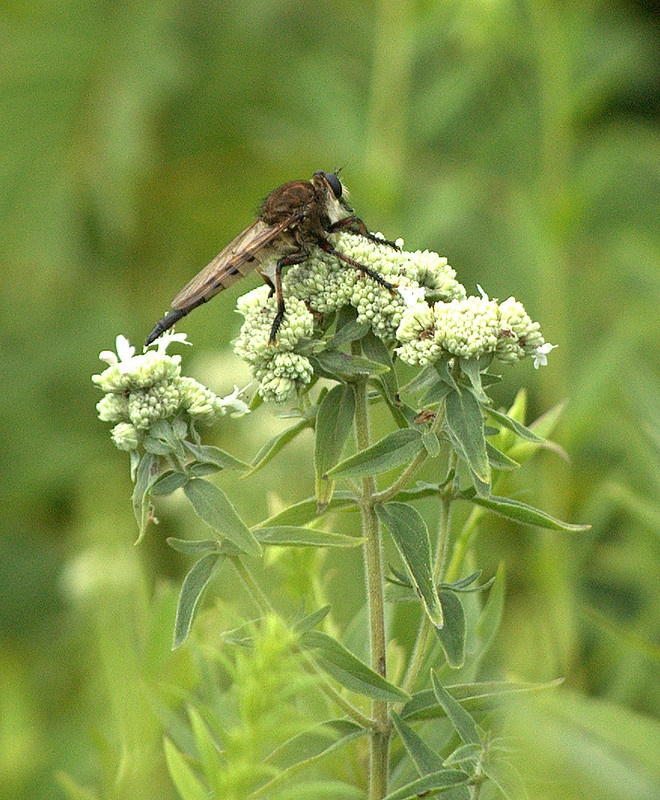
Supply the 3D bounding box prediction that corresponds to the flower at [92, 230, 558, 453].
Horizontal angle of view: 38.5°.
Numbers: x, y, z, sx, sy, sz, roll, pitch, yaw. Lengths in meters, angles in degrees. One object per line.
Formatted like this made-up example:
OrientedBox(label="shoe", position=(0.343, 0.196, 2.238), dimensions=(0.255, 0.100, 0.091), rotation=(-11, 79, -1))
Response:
OrientedBox(label="flower", position=(-0.058, -0.181, 2.634), dimensions=(1.007, 0.366, 0.693), rotation=(-12, 25, 7))
